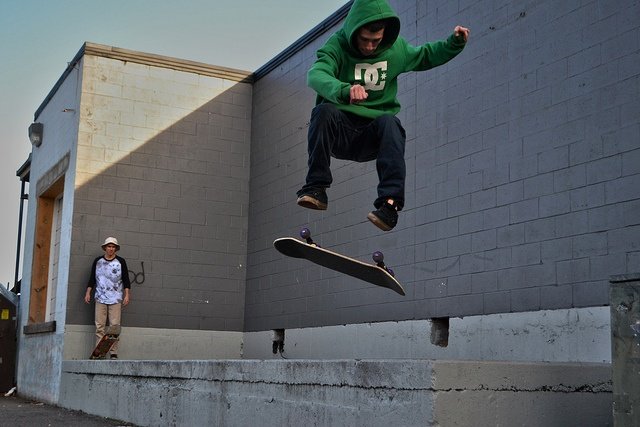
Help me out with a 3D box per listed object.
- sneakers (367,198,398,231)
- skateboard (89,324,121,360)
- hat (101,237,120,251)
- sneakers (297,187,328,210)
[{"bbox_3d":[0.634,0.016,6.172,0.313,0.292,0.276,-3,-5,-4],"label":"sneakers"},{"bbox_3d":[-3.748,2.281,10.811,0.312,0.166,1.161,14,-51,-37],"label":"skateboard"},{"bbox_3d":[-3.875,0.538,11.505,0.249,0.148,0.333,1,-17,-10],"label":"hat"},{"bbox_3d":[-0.058,-0.148,6.264,0.312,0.207,0.163,18,-16,-22],"label":"sneakers"}]
